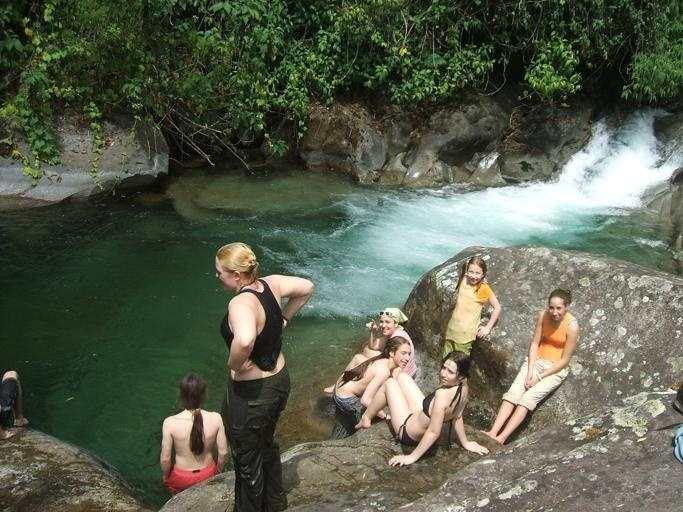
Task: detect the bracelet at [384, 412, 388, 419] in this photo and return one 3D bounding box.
[{"bbox_3d":[0.508,1.878,7.482,0.041,0.064,0.062,0,3,-13],"label":"bracelet"}]

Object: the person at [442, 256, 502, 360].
[{"bbox_3d":[1.611,0.694,7.940,0.352,1.354,0.646,6,32,-27],"label":"person"}]

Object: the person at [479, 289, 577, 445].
[{"bbox_3d":[2.239,1.251,7.438,1.006,1.784,0.417,-7,18,-14],"label":"person"}]

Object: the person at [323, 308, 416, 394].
[{"bbox_3d":[0.450,1.197,8.185,1.100,1.096,0.463,5,6,-34],"label":"person"}]

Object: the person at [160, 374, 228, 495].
[{"bbox_3d":[-1.659,2.266,7.185,0.730,1.835,0.632,-4,19,-25],"label":"person"}]

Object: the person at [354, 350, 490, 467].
[{"bbox_3d":[0.717,1.521,6.871,1.421,1.076,1.003,15,12,41],"label":"person"}]
